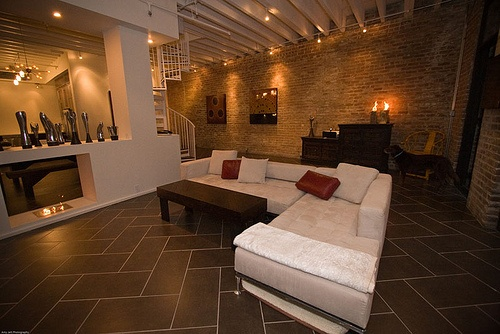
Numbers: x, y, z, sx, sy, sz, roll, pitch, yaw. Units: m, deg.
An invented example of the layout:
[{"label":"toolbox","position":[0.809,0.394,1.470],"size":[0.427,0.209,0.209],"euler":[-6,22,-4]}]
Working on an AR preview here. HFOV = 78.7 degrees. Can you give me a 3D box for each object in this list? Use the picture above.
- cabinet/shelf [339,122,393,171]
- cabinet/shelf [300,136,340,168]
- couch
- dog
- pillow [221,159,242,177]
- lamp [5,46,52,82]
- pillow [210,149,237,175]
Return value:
[{"label":"cabinet/shelf","position":[3.011,-0.532,7.782],"size":[1.245,1.202,0.493],"euler":[5,10,35]},{"label":"cabinet/shelf","position":[2.036,-0.430,8.726],"size":[0.973,0.683,0.359],"euler":[4,9,39]},{"label":"couch","position":[1.023,1.074,4.675],"size":[3.491,1.093,2.487],"euler":[8,16,34]},{"label":"dog","position":[3.924,-0.034,6.912],"size":[1.363,0.905,1.101],"euler":[7,14,34]},{"label":"pillow","position":[-0.383,0.034,6.384],"size":[0.379,0.373,0.124],"euler":[3,-2,1]},{"label":"lamp","position":[-6.640,-3.099,9.099],"size":[0.963,1.078,0.995],"euler":[9,12,39]},{"label":"pillow","position":[-0.579,-0.080,6.744],"size":[0.537,0.540,0.223],"euler":[5,-13,32]}]
